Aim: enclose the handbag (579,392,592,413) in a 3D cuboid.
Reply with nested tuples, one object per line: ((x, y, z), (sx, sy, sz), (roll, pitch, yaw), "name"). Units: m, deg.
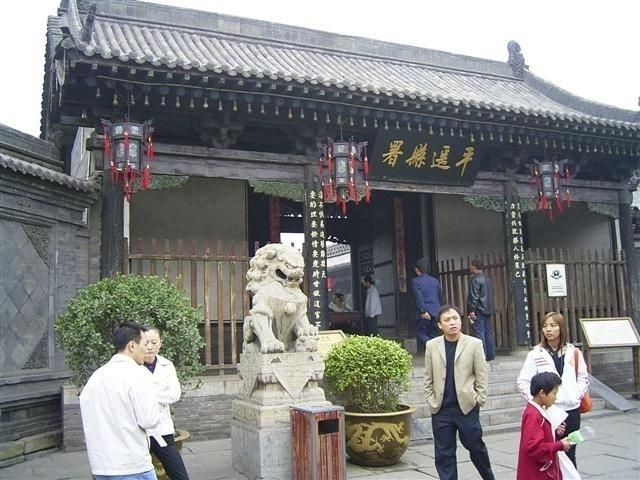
((2.942, 1.733, 6.970), (0.108, 0.201, 0.373), (-6, -11, 26), "handbag")

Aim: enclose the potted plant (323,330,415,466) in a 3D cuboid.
((0.831, 1.987, 8.116), (1.029, 1.484, 0.934), (-4, -15, 11), "potted plant")

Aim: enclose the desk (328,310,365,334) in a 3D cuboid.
((0.632, 1.946, 15.064), (0.764, 0.767, 0.507), (3, -8, -17), "desk")

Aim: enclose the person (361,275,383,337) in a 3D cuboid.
((1.224, 1.517, 14.606), (0.407, 1.329, 0.936), (-2, -10, 5), "person")

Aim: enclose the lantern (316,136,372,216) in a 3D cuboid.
((0.483, -0.886, 10.486), (1.007, 1.489, 1.039), (-1, 4, 20), "lantern")

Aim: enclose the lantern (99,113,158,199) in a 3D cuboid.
((-2.880, -0.989, 9.520), (1.074, 1.429, 0.956), (0, -2, -27), "lantern")
